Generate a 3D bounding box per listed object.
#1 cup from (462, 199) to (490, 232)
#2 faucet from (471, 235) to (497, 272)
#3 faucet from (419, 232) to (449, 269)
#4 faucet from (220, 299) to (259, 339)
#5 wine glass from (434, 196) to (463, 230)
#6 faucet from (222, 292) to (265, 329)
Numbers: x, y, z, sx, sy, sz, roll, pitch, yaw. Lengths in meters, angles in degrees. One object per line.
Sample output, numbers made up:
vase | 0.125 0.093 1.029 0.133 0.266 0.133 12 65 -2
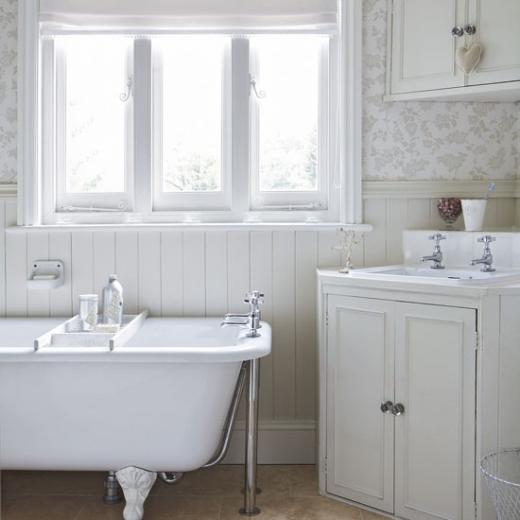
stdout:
cup | 0.967 -0.196 2.502 0.138 0.148 0.135 -1 1 0
faucet | 0.960 -0.028 2.369 0.092 0.152 0.227 2 5 23
faucet | 0.782 -0.038 2.515 0.112 0.160 0.111 -3 4 -22
faucet | -0.081 0.236 2.331 0.160 0.171 0.067 0 -6 -10
wine glass | 0.906 -0.221 2.626 0.111 0.153 0.099 4 6 42
faucet | -0.072 0.236 2.419 0.183 0.189 0.146 5 0 -11
